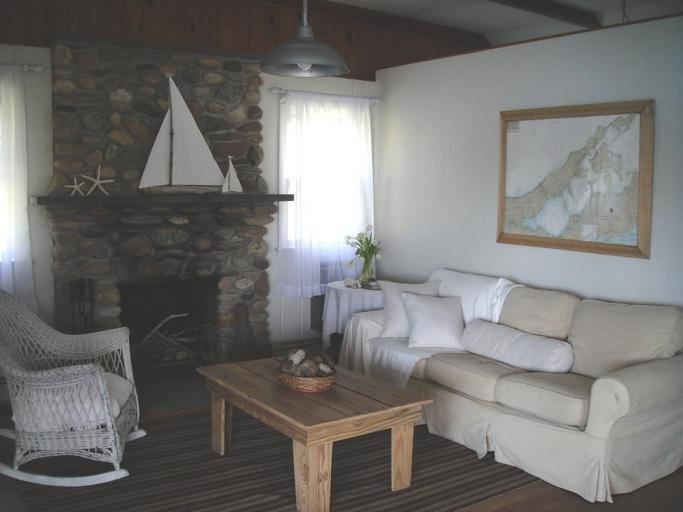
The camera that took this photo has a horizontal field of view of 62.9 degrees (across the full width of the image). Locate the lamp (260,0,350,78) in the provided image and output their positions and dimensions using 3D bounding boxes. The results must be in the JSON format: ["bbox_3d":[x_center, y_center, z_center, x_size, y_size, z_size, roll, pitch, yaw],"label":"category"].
[{"bbox_3d":[-0.219,-1.277,3.229,0.405,0.435,0.425,-8,15,-36],"label":"lamp"}]

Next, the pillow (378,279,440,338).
[{"bbox_3d":[0.446,0.453,4.500,0.443,0.421,0.128,2,-17,5],"label":"pillow"}]

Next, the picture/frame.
[{"bbox_3d":[1.713,-0.549,4.001,0.060,1.106,1.209,-4,6,-45],"label":"picture/frame"}]

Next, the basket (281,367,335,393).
[{"bbox_3d":[-0.197,0.726,3.192,0.172,0.056,0.171,0,1,-21],"label":"basket"}]
